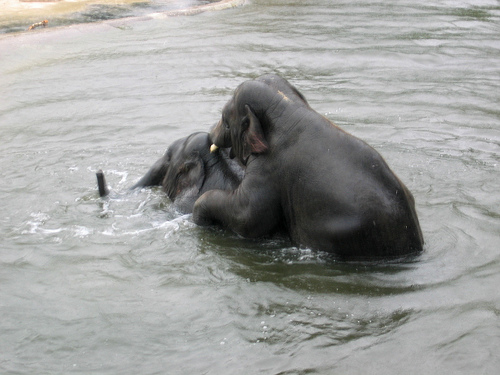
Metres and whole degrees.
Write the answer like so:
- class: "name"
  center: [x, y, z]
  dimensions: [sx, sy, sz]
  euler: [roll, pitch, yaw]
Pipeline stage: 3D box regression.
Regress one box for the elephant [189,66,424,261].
- class: "elephant"
  center: [0.814, -0.378, 7.900]
  dimensions: [3.353, 1.756, 1.789]
  euler: [29, 36, 30]
